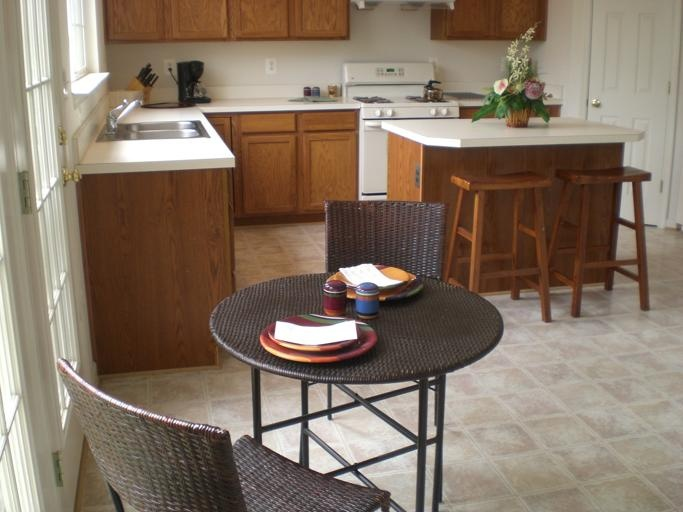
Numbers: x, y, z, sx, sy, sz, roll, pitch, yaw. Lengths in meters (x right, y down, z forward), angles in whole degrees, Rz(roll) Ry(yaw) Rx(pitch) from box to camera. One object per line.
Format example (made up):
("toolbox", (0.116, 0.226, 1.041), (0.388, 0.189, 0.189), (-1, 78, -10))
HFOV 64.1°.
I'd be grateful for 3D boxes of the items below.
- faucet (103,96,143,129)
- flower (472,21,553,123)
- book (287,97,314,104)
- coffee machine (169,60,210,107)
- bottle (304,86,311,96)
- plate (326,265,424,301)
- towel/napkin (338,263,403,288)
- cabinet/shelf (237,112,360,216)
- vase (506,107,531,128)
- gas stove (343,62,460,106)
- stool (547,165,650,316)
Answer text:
("faucet", (-1.423, -0.917, 3.531), (0.196, 0.182, 0.406), (-9, 18, -19))
("flower", (1.116, -1.138, 3.563), (0.471, 0.570, 0.332), (3, 19, 17))
("book", (-0.392, -1.532, 5.351), (0.220, 0.045, 0.216), (1, 14, -3))
("coffee machine", (-1.465, -1.692, 5.342), (0.377, 0.379, 0.269), (7, 13, 27))
("bottle", (-0.354, -1.707, 5.634), (0.079, 0.109, 0.118), (-6, 17, -10))
("plate", (0.179, 0.099, 1.825), (0.173, 0.022, 0.168), (-16, 24, -39))
("towel/napkin", (0.095, 0.071, 1.869), (0.094, 0.023, 0.143), (-9, 19, -21))
("cabinet/shelf", (-0.509, -0.935, 5.402), (1.304, 0.975, 0.446), (-9, 19, -31))
("vase", (1.176, -0.919, 3.623), (0.137, 0.086, 0.121), (1, 18, 8))
("gas stove", (0.481, -1.841, 5.813), (0.994, 0.403, 0.451), (-6, 20, -17))
("stool", (1.735, -0.132, 3.616), (0.696, 0.900, 0.545), (-5, 18, -8))
